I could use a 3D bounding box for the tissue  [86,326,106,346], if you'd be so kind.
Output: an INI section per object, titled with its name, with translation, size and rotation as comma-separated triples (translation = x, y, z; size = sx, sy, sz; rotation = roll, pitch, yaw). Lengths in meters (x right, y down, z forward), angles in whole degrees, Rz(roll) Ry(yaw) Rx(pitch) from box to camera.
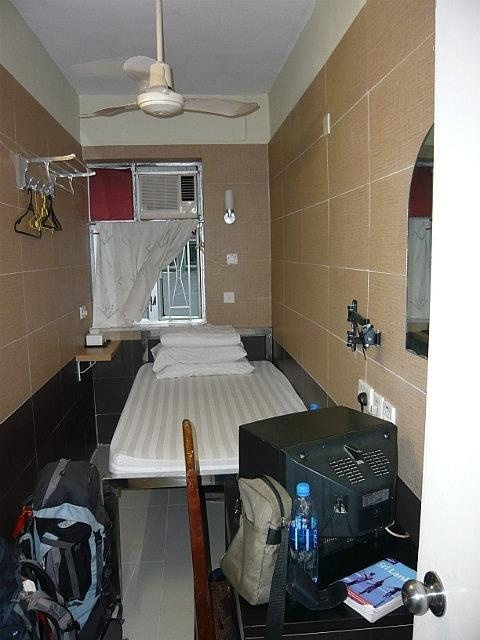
[tissue ]
translation = -1.200, 0.130, 3.677
size = 0.095, 0.161, 0.156
rotation = 2, 12, 0

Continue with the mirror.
[mirror]
translation = 0.490, -0.200, 1.202
size = 0.048, 0.613, 0.243
rotation = 1, 6, 17

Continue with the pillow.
[pillow]
translation = -0.317, 0.265, 3.505
size = 0.600, 0.438, 0.462
rotation = 3, 8, -14

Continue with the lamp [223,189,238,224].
[lamp]
translation = -0.094, -0.984, 3.834
size = 0.111, 0.277, 0.099
rotation = -1, 5, -3
